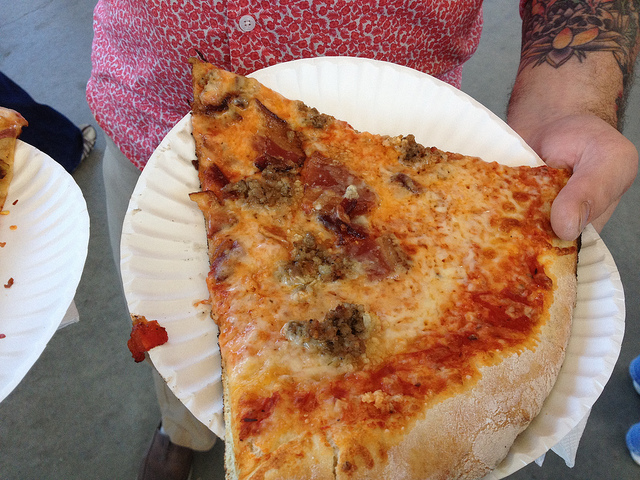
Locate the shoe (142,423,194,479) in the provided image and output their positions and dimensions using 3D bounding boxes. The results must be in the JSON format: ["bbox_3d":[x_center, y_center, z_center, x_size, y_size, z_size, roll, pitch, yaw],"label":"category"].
[{"bbox_3d":[-0.882,1.263,3.791,0.218,0.300,0.183,25,37,37],"label":"shoe"}]

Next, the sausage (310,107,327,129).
[{"bbox_3d":[-0.009,-0.557,3.007,0.079,0.023,0.082,36,72,-2],"label":"sausage"}]

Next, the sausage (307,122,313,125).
[{"bbox_3d":[-0.045,-0.537,3.007,0.010,0.003,0.011,-29,74,-8],"label":"sausage"}]
